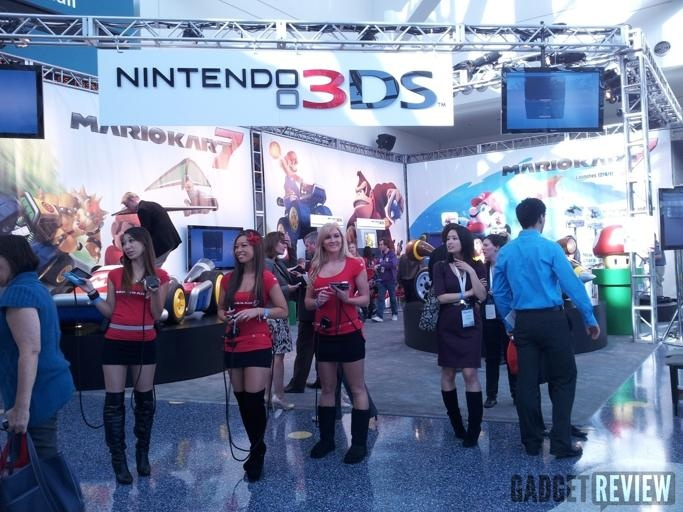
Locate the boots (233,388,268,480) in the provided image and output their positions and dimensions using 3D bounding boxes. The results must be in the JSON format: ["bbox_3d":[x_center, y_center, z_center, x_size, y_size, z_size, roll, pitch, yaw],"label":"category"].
[{"bbox_3d":[-0.675,1.309,3.923,0.215,0.654,0.187,-2,2,-12],"label":"boots"}]

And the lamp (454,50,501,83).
[{"bbox_3d":[3.048,-4.350,12.019,0.663,0.517,1.333,-3,3,-30],"label":"lamp"}]

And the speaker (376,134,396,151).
[{"bbox_3d":[1.488,-4.005,18.677,0.570,0.615,0.566,1,8,-25],"label":"speaker"}]

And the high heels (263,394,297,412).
[{"bbox_3d":[-0.671,1.514,5.472,0.376,0.207,0.131,2,-3,-20],"label":"high heels"}]

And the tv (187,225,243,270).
[{"bbox_3d":[-3.086,-0.196,12.951,1.376,1.077,0.115,0,-8,-28],"label":"tv"}]

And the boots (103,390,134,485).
[{"bbox_3d":[-1.653,1.314,3.910,0.177,0.673,0.281,-2,2,-24],"label":"boots"}]
